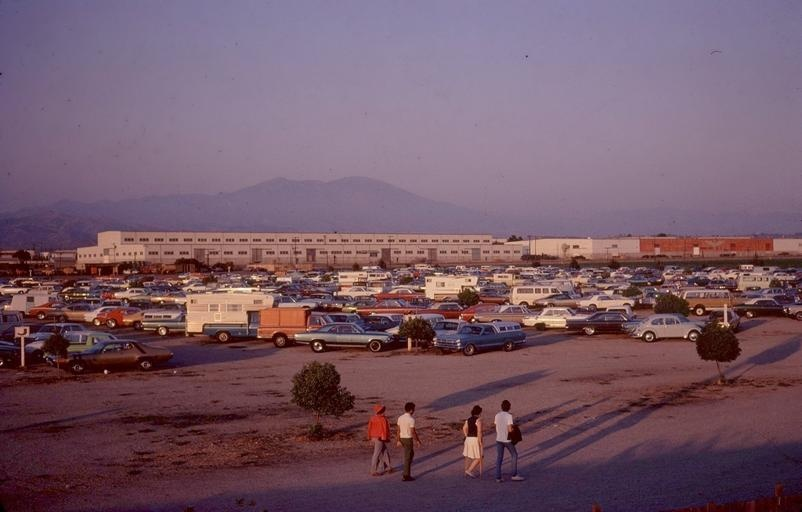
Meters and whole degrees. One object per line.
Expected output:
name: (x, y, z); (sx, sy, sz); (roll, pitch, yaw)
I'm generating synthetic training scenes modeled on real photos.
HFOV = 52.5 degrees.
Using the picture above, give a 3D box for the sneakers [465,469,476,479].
sneakers: (2.024, 6.415, 23.786); (0.432, 0.170, 0.140); (35, 12, -26)

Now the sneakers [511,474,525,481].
sneakers: (3.409, 6.495, 23.767); (0.379, 0.147, 0.147); (0, 3, -5)

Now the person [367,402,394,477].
person: (-0.628, 5.352, 24.188); (0.698, 2.102, 1.125); (0, 10, -1)

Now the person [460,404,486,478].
person: (2.107, 5.378, 23.772); (0.568, 2.205, 0.848); (1, 10, 6)
